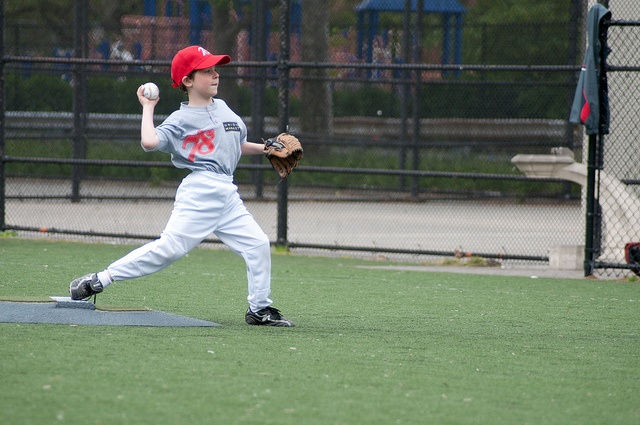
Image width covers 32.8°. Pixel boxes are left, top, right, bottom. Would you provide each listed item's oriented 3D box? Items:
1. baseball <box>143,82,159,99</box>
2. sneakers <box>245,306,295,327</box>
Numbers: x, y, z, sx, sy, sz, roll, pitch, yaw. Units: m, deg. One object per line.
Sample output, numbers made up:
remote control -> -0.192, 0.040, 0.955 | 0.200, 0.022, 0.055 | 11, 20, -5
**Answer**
baseball -> -1.611, -1.171, 10.484 | 0.152, 0.150, 0.149 | 5, -28, -21
sneakers -> -0.489, 1.005, 10.606 | 0.506, 0.201, 0.185 | 2, -2, 0
